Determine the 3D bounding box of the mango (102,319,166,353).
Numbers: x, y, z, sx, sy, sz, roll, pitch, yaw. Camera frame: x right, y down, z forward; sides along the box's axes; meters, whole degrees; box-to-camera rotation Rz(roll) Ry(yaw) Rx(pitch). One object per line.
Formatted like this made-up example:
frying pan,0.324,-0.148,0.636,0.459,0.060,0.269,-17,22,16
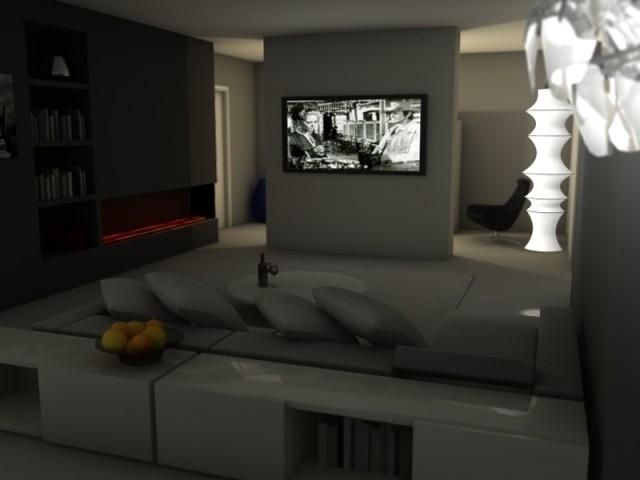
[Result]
mango,-0.886,0.444,2.355,0.246,0.142,0.237,6,10,4

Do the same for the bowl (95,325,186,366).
bowl,-0.881,0.469,2.471,0.432,0.166,0.346,5,10,-1

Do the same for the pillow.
pillow,-0.302,0.375,2.595,1.505,0.443,0.352,2,-10,8

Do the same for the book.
book,-2.968,-0.958,5.439,0.548,0.963,0.706,7,15,33

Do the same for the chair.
chair,2.789,-0.471,7.869,0.778,1.165,0.835,4,12,-12
